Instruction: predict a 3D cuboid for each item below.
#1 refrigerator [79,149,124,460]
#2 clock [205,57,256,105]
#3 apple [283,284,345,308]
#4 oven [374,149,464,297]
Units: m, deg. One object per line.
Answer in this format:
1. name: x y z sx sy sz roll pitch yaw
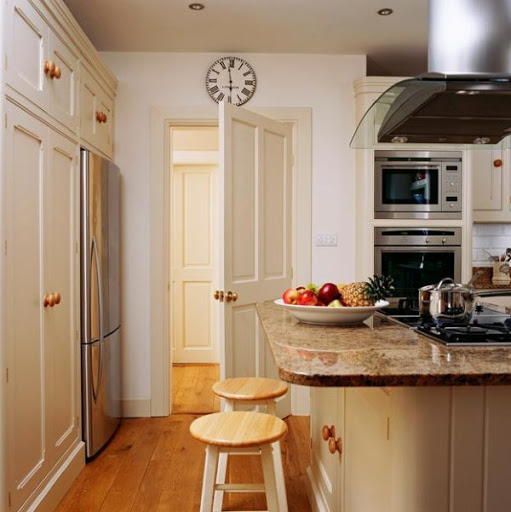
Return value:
1. refrigerator: -0.865 0.196 2.817 0.185 1.266 0.258 1 3 -2
2. clock: -0.171 -1.201 3.441 0.323 0.317 0.026 -1 3 -6
3. apple: 0.208 0.123 1.773 0.160 0.087 0.126 0 4 -28
4. oven: 1.092 -0.245 3.394 0.613 0.979 0.399 1 3 8
